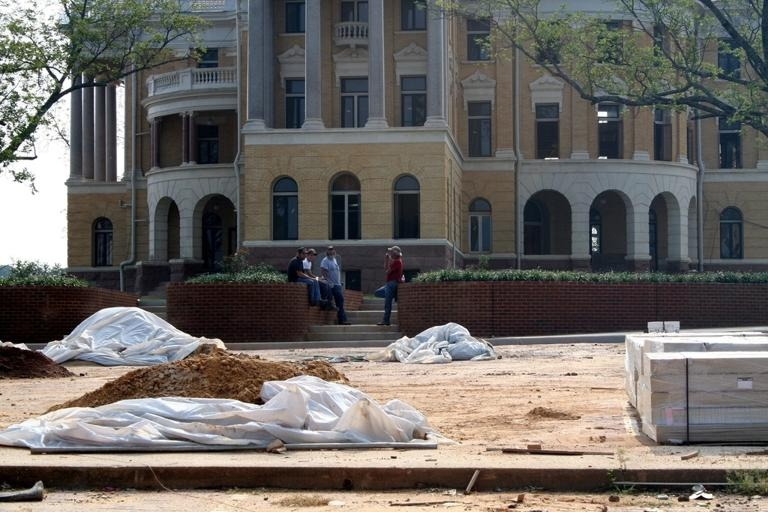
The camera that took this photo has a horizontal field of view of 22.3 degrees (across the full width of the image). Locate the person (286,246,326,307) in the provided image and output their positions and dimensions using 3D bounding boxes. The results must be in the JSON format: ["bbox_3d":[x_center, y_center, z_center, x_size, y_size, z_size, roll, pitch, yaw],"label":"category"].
[{"bbox_3d":[-3.119,1.067,76.179,1.333,2.302,1.004,-1,-2,-13],"label":"person"}]
